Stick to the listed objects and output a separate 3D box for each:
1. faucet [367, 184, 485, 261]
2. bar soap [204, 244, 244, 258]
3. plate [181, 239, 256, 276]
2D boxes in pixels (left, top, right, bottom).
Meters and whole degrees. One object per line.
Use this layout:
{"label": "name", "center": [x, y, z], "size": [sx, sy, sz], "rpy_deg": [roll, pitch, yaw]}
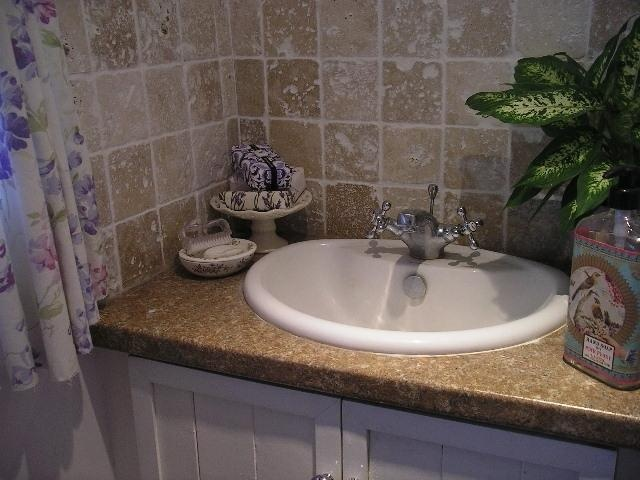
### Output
{"label": "faucet", "center": [0.233, -0.096, 1.185], "size": [0.269, 0.172, 0.175], "rpy_deg": [4, 12, 22]}
{"label": "bar soap", "center": [-0.230, 0.024, 1.278], "size": [0.057, 0.014, 0.041], "rpy_deg": [-7, 10, -34]}
{"label": "plate", "center": [-0.234, 0.046, 1.252], "size": [0.108, 0.039, 0.108], "rpy_deg": [-14, 14, -21]}
